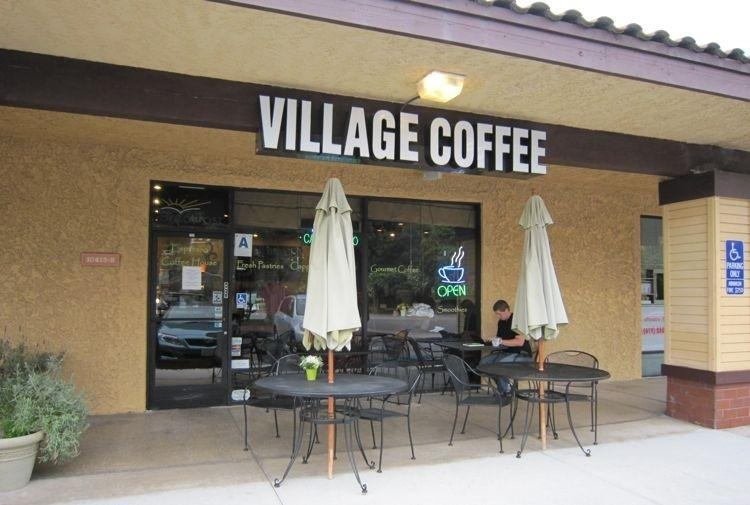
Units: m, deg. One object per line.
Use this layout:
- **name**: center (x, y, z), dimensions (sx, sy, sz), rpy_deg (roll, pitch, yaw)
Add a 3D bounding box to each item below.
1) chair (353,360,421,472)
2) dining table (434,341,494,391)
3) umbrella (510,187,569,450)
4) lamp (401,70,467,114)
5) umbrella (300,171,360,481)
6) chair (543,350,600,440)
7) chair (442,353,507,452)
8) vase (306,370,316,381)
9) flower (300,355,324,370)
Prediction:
- **chair**: center (-0.039, 2.053, 8.833), dimensions (0.941, 1.108, 0.883), rpy_deg (0, -16, 21)
- **dining table**: center (1.417, 1.835, 11.042), dimensions (0.808, 0.740, 0.790), rpy_deg (2, -3, -21)
- **umbrella**: center (2.092, 0.394, 8.945), dimensions (0.676, 2.273, 0.397), rpy_deg (-2, -6, 11)
- **lamp**: center (0.770, -1.947, 8.347), dimensions (0.602, 0.233, 0.849), rpy_deg (1, -8, -13)
- **umbrella**: center (-0.514, 0.324, 7.970), dimensions (0.618, 2.375, 0.287), rpy_deg (0, -6, -2)
- **chair**: center (2.692, 1.943, 9.593), dimensions (0.931, 1.154, 0.889), rpy_deg (8, -7, -37)
- **chair**: center (1.337, 1.933, 8.974), dimensions (0.887, 1.146, 0.775), rpy_deg (0, -2, 26)
- **vase**: center (-0.766, 1.460, 8.142), dimensions (0.127, 0.093, 0.118), rpy_deg (2, -7, -15)
- **flower**: center (-0.773, 1.322, 8.219), dimensions (0.229, 0.135, 0.227), rpy_deg (-1, -5, 7)
